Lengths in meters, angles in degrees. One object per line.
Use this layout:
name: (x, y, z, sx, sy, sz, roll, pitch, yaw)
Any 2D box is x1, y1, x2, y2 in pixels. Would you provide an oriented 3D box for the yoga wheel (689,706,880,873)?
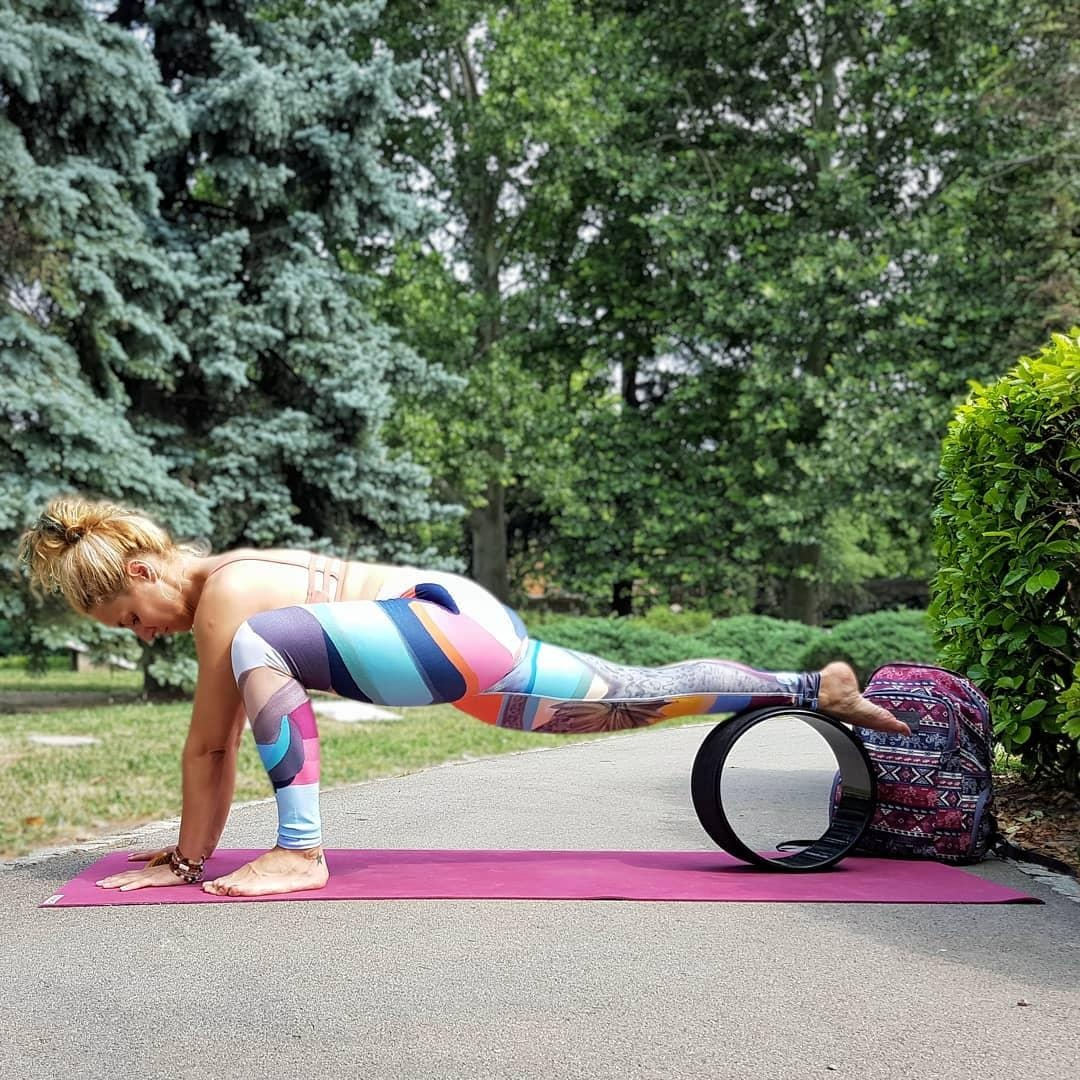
yoga wheel: (1.046, 1.079, 6.443, 0.958, 0.647, 0.291, 0, 4, -16)

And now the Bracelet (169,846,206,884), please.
Bracelet: (-1.320, 1.217, 5.653, 0.161, 0.086, 0.119, 13, -4, -5)

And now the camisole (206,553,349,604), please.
camisole: (-0.986, 0.131, 5.687, 0.482, 0.113, 0.197, 5, 2, -6)

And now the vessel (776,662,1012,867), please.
vessel: (1.667, 0.904, 6.430, 0.775, 0.733, 1.015, 9, 6, 42)
